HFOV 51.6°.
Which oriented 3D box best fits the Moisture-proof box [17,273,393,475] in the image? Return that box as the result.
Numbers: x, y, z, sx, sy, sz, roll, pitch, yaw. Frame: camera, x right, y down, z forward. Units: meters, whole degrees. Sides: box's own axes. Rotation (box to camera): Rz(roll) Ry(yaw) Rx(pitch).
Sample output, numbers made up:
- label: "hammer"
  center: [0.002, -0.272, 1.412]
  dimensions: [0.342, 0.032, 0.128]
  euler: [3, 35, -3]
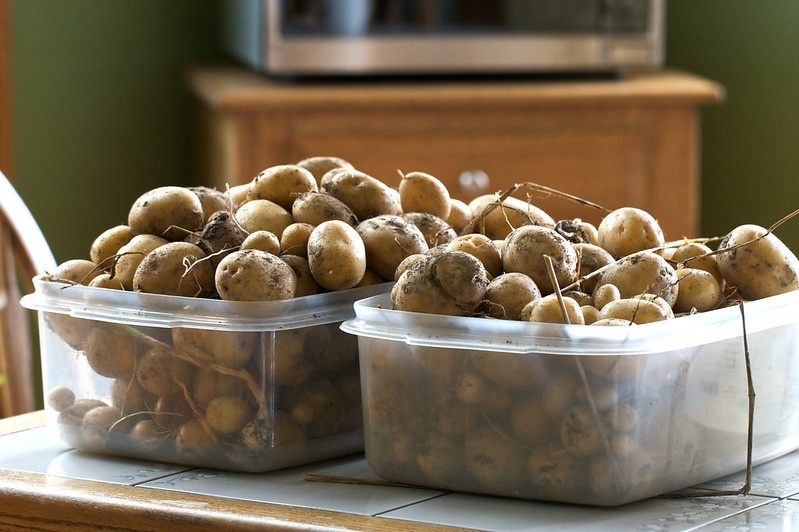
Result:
- label: "Moisture-proof box"
  center: [-0.193, 0.127, 0.952]
  dimensions: [0.224, 0.120, 0.272]
  euler: [0, -1, 32]

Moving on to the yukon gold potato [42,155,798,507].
- label: "yukon gold potato"
  center: [0.014, 0.081, 0.983]
  dimensions: [0.584, 0.219, 0.406]
  euler: [1, 2, 21]

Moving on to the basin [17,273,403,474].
- label: "basin"
  center: [-0.163, 0.140, 1.131]
  dimensions: [0.426, 0.189, 0.379]
  euler: [-2, -4, 45]
